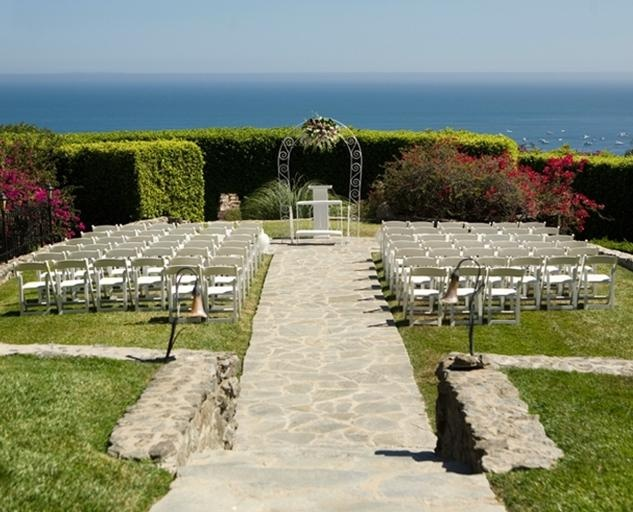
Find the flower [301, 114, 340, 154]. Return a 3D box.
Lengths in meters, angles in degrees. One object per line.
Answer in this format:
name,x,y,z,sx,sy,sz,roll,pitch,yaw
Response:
flower,0.028,-3.591,21.334,0.997,0.828,0.997,-10,11,3
